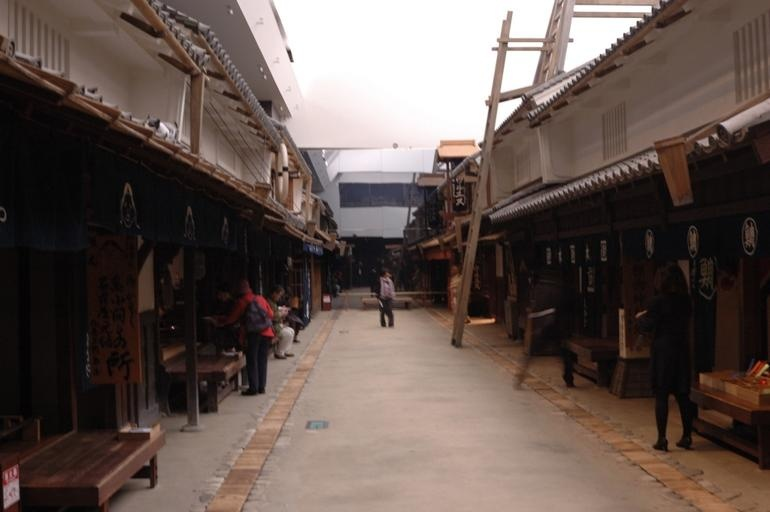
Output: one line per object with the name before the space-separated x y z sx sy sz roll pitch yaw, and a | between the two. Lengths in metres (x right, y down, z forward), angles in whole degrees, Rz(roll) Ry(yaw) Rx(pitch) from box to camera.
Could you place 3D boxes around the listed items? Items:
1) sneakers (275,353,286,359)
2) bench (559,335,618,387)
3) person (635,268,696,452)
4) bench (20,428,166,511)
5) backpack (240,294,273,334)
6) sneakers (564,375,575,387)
sneakers | -2.804 2.712 16.249 0.219 0.091 0.130 -4 -1 15
bench | 4.341 2.165 12.662 0.807 0.630 1.223 1 -3 -7
person | 4.422 1.562 9.384 0.758 2.774 0.622 -2 4 -18
bench | -3.910 2.861 7.882 1.299 0.815 1.530 0 4 10
backpack | -2.646 1.224 12.316 0.471 0.897 0.688 -14 -8 31
sneakers | 3.911 2.623 12.722 0.239 0.209 0.458 0 4 14
